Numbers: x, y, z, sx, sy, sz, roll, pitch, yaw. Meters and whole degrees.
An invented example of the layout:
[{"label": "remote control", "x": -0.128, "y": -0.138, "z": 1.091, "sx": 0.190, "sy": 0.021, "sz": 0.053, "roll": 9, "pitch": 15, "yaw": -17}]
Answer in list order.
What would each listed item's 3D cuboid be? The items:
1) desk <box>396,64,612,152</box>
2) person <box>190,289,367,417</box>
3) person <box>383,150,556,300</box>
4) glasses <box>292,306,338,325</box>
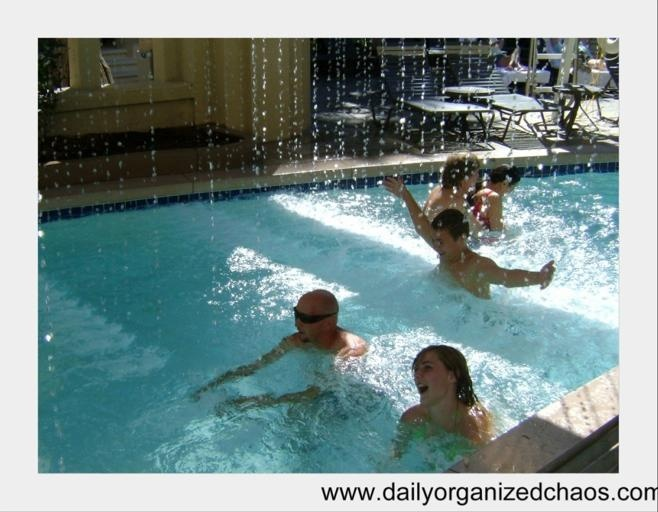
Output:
[{"label": "desk", "x": 2.659, "y": -2.211, "z": 7.807, "sx": 3.324, "sy": 1.016, "sz": 1.842, "roll": -6, "pitch": 19, "yaw": -8}, {"label": "person", "x": -0.180, "y": 0.513, "z": 3.093, "sx": 1.100, "sy": 0.573, "sz": 0.538, "roll": -12, "pitch": 29, "yaw": -26}, {"label": "person", "x": 0.902, "y": -0.155, "z": 3.908, "sx": 0.743, "sy": 0.956, "sz": 1.584, "roll": -6, "pitch": 19, "yaw": -9}, {"label": "glasses", "x": -0.084, "y": 0.319, "z": 3.001, "sx": 0.150, "sy": 0.043, "sz": 0.122, "roll": -10, "pitch": 16, "yaw": -30}]
